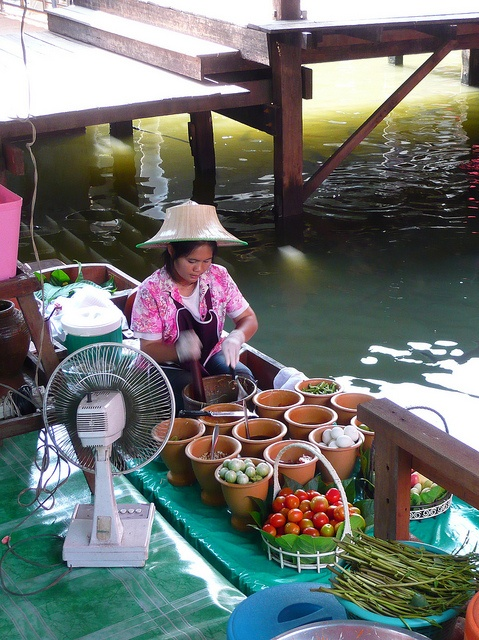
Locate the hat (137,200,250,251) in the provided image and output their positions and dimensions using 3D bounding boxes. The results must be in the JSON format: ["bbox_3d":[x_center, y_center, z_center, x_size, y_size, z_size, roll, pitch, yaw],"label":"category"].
[{"bbox_3d":[-0.236,-0.497,2.864,0.506,0.218,0.307,-2,6,-8],"label":"hat"}]

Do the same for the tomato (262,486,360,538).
[{"bbox_3d":[0.241,0.721,2.095,0.276,0.100,0.268,-9,11,-36],"label":"tomato"}]

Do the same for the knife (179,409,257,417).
[{"bbox_3d":[-0.109,0.435,2.634,0.320,0.031,0.060,1,20,-12],"label":"knife"}]

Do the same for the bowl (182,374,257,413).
[{"bbox_3d":[-0.094,0.398,2.934,0.302,0.251,0.197,-6,25,-6],"label":"bowl"}]

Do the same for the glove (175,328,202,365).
[{"bbox_3d":[-0.279,0.138,3.076,0.140,0.161,0.063,0,1,-40],"label":"glove"}]

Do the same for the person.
[{"bbox_3d":[-0.292,-0.124,3.123,0.701,1.167,0.650,-4,19,-12],"label":"person"}]
